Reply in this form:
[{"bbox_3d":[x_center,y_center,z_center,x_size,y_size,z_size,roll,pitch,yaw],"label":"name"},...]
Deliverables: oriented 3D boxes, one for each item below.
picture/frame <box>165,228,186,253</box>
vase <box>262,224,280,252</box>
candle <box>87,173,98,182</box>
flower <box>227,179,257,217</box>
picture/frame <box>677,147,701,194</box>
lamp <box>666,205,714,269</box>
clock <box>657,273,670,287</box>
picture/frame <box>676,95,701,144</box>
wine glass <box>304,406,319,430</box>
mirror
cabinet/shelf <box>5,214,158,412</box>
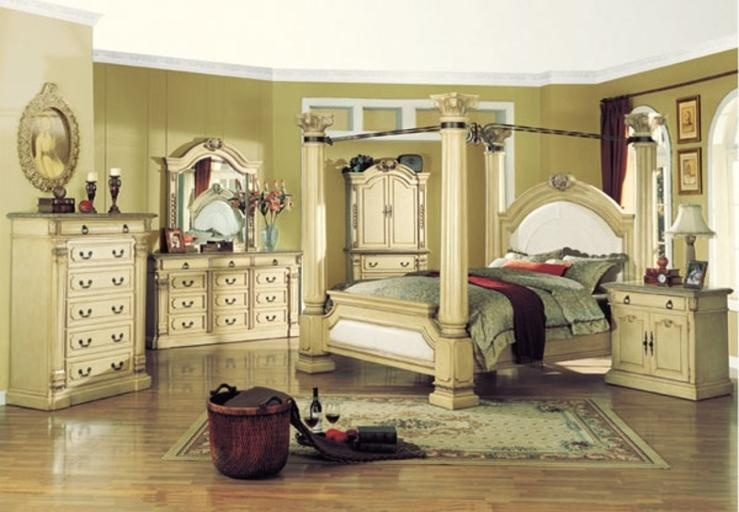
[{"bbox_3d":[-2.497,-0.197,8.585,0.026,0.344,0.302,-15,-5,39],"label":"picture/frame"},{"bbox_3d":[-1.335,-0.254,9.135,0.193,0.352,0.317,-2,7,-18],"label":"vase"},{"bbox_3d":[-2.635,-0.758,6.404,0.106,0.077,0.105,1,-4,-3],"label":"candle"},{"bbox_3d":[-1.732,-0.795,9.196,0.474,0.502,0.436,0,-3,-11],"label":"flower"},{"bbox_3d":[3.809,-1.010,7.968,0.068,0.543,0.354,-2,7,-18],"label":"picture/frame"},{"bbox_3d":[3.127,-0.198,6.905,0.597,0.698,0.590,-1,2,12],"label":"lamp"},{"bbox_3d":[2.908,0.226,6.643,0.068,0.114,0.041,-8,-15,37],"label":"clock"},{"bbox_3d":[3.812,-1.625,8.003,0.062,0.553,0.380,-3,8,-26],"label":"picture/frame"},{"bbox_3d":[-0.434,1.257,5.171,0.116,0.221,0.177,-1,7,-4],"label":"wine glass"},{"bbox_3d":[-2.124,-0.803,8.988,1.539,1.623,0.273,-2,4,-36],"label":"mirror"},{"bbox_3d":[-2.675,0.466,6.182,1.273,1.739,0.502,-4,8,-28],"label":"cabinet/shelf"}]
